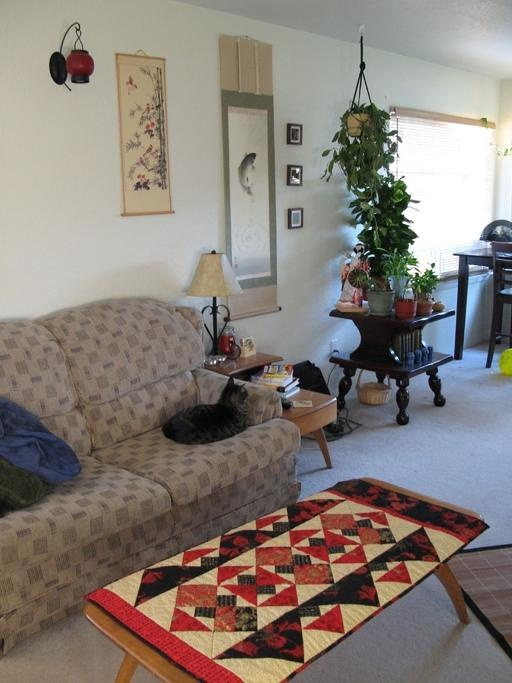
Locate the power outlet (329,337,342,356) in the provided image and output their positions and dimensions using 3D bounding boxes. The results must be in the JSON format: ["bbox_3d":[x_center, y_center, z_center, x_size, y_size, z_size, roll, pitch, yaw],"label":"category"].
[{"bbox_3d":[0.554,0.036,3.914,0.016,0.157,0.121,6,10,36],"label":"power outlet"}]

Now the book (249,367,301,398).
[{"bbox_3d":[0.115,0.192,2.766,0.194,0.068,0.149,19,35,37],"label":"book"}]

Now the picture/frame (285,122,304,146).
[{"bbox_3d":[0.224,-1.265,3.357,0.015,0.144,0.149,12,21,41],"label":"picture/frame"}]

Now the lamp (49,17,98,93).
[{"bbox_3d":[-0.736,-1.167,2.226,0.155,0.236,0.101,3,7,25],"label":"lamp"}]

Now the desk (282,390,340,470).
[{"bbox_3d":[0.260,0.440,2.689,0.219,0.276,0.302,-31,34,-32],"label":"desk"}]

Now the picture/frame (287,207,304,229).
[{"bbox_3d":[0.237,-0.777,3.460,0.014,0.127,0.131,14,24,40],"label":"picture/frame"}]

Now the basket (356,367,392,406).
[{"bbox_3d":[0.796,0.322,3.853,0.216,0.255,0.260,-1,5,2],"label":"basket"}]

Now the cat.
[{"bbox_3d":[-0.175,0.280,2.257,0.310,0.157,0.189,-12,24,-34],"label":"cat"}]

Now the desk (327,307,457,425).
[{"bbox_3d":[0.911,0.143,3.697,0.713,0.618,0.718,-5,12,-33],"label":"desk"}]

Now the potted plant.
[{"bbox_3d":[0.825,-1.063,3.548,0.763,1.753,0.849,5,12,28],"label":"potted plant"}]
